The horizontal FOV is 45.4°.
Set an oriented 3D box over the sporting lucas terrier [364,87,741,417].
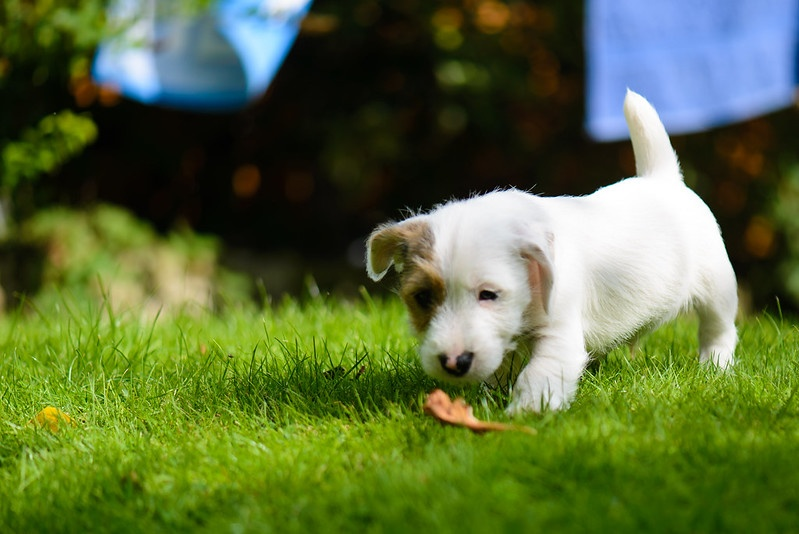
[{"bbox_3d":[0.732,0.098,5.038,1.065,1.927,2.157,1,3,9],"label":"sporting lucas terrier"}]
